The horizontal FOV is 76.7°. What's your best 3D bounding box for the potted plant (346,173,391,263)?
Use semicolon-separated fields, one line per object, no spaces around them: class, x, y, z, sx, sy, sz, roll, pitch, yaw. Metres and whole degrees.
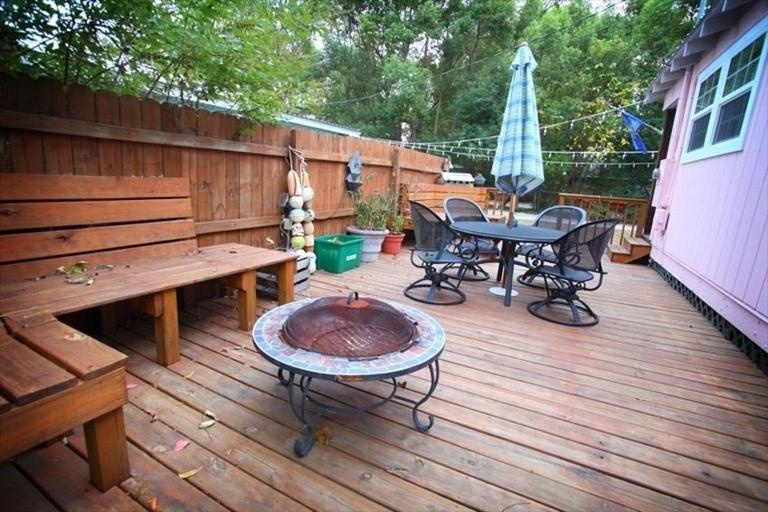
potted plant;-0.226;-0.522;7.281;0.678;1.161;1.202;2;16;0

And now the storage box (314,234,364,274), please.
storage box;-0.635;-0.040;6.681;0.474;0.394;0.655;11;13;24
